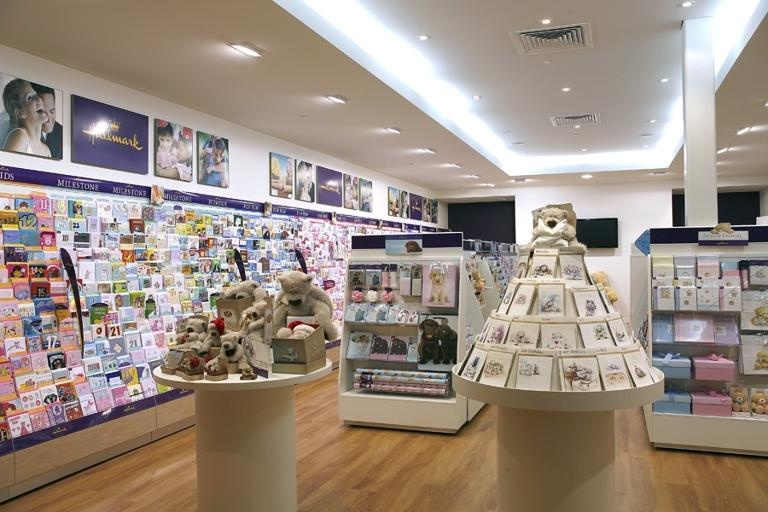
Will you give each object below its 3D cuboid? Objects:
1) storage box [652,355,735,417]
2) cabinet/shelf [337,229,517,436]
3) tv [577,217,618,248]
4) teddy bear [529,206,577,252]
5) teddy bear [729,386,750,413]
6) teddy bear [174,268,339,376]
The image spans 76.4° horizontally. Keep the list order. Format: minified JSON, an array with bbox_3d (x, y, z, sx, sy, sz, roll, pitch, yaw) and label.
[{"bbox_3d":[3.228,1.359,5.047,0.816,0.595,0.472,0,-5,10],"label":"storage box"},{"bbox_3d":[0.308,0.934,6.900,1.903,3.018,2.308,1,1,21],"label":"cabinet/shelf"},{"bbox_3d":[5.898,-0.632,13.352,0.922,0.687,0.099,3,6,25],"label":"tv"},{"bbox_3d":[1.519,-0.232,4.372,0.422,0.422,0.242,-3,-9,26],"label":"teddy bear"},{"bbox_3d":[3.740,1.517,5.139,0.176,0.208,0.119,0,0,14],"label":"teddy bear"},{"bbox_3d":[-1.000,0.563,4.040,0.854,0.472,1.013,-2,-3,32],"label":"teddy bear"}]
